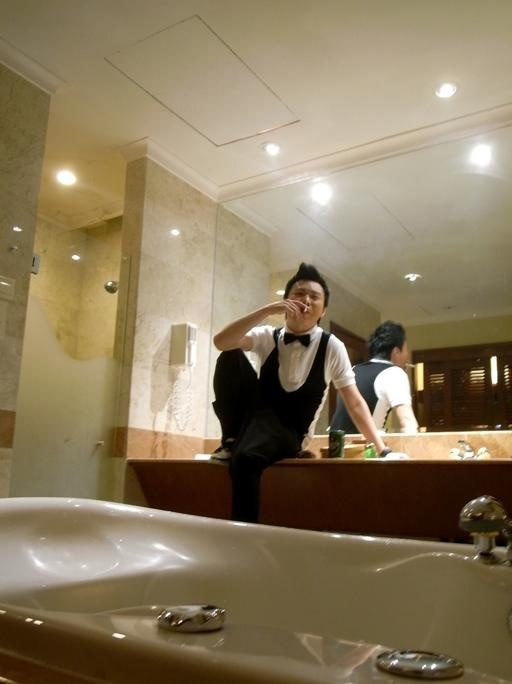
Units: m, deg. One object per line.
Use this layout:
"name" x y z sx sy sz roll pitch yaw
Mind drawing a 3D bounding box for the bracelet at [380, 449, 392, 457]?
"bracelet" 0.497 0.428 1.922 0.038 0.014 0.022 -19 9 -38

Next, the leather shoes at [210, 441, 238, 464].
"leather shoes" -0.126 0.430 1.887 0.046 0.093 0.131 37 -38 -19
